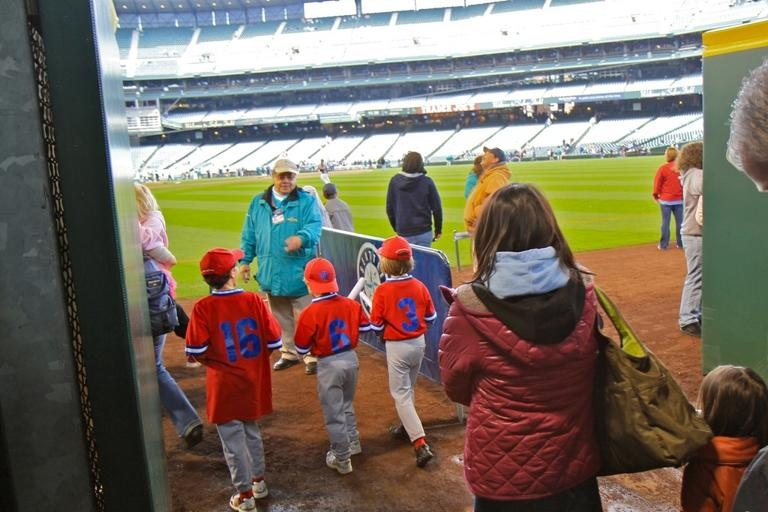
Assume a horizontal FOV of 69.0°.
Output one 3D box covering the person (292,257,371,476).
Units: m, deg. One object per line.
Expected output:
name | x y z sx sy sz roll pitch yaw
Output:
person | -0.386 0.786 4.130 0.402 1.510 0.510 3 14 24

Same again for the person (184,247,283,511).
person | -1.055 0.825 3.819 0.518 1.691 0.626 2 14 20

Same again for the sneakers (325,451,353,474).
sneakers | -0.345 1.495 4.111 0.104 0.110 0.230 -2 9 -34

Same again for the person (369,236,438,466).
person | 0.140 0.687 4.236 0.487 1.606 0.794 -2 13 4

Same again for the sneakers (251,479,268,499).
sneakers | -0.864 1.608 3.837 0.070 0.077 0.163 -1 3 -12

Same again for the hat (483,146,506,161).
hat | 1.304 -1.223 6.583 0.255 0.084 0.184 35 14 26

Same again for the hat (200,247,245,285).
hat | -1.133 0.047 3.946 0.197 0.166 0.311 3 32 29

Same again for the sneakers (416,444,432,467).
sneakers | 0.298 1.433 4.118 0.129 0.162 0.246 -2 12 4

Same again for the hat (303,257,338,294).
hat | -0.489 0.150 4.121 0.189 0.148 0.279 -2 28 -22

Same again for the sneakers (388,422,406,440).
sneakers | 0.112 1.430 4.529 0.073 0.165 0.169 -5 22 -32

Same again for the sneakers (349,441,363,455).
sneakers | -0.224 1.465 4.253 0.062 0.090 0.129 2 3 -1

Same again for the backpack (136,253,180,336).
backpack | -1.724 0.333 4.268 0.193 0.645 0.438 -8 14 -21

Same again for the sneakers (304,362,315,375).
sneakers | -0.799 1.177 5.828 0.078 0.093 0.133 0 8 -29

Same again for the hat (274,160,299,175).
hat | -1.011 -0.911 5.678 0.276 0.168 0.247 -10 14 -28

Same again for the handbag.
handbag | 1.202 0.606 2.521 0.516 0.901 0.318 5 15 31

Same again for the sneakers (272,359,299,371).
sneakers | -1.105 1.190 6.078 0.296 0.126 0.108 7 -11 -38
